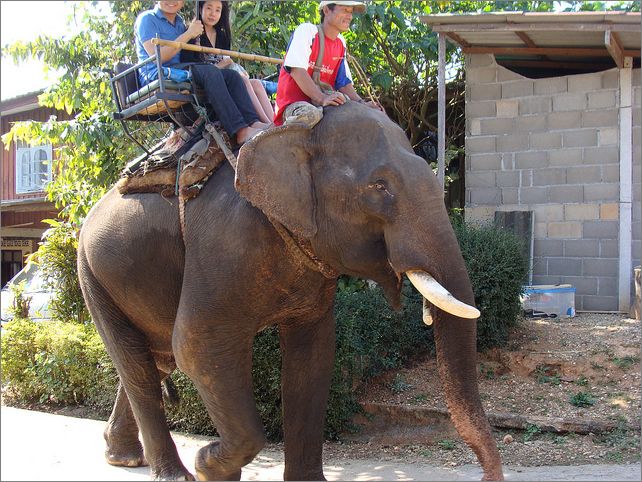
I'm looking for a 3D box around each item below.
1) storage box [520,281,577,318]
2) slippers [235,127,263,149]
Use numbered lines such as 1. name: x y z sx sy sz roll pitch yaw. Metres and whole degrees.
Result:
1. storage box: 3.183 0.817 10.128 0.785 0.492 0.519 1 -2 3
2. slippers: -0.524 -0.789 5.461 0.116 0.102 0.283 -2 -9 -45
